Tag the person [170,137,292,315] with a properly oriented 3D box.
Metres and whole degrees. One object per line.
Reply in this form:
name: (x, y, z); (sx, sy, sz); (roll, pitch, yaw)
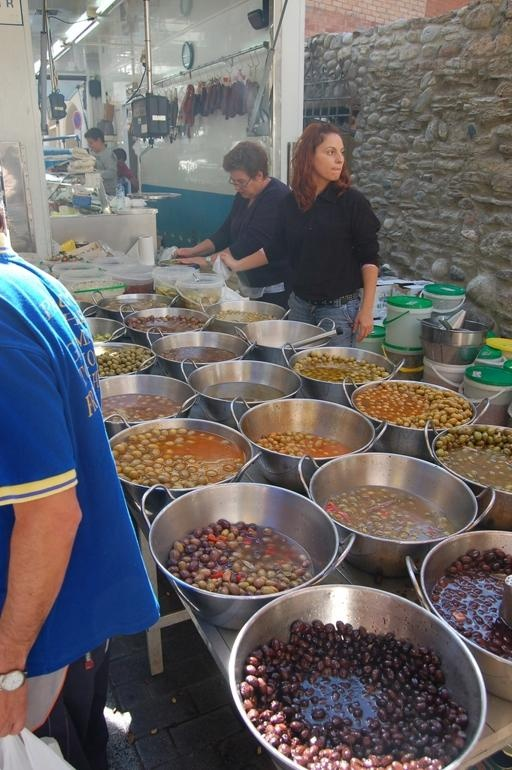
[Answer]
person: (-0.157, -1.043, 4.849); (1.101, 1.855, 0.939); (-2, 24, 8)
